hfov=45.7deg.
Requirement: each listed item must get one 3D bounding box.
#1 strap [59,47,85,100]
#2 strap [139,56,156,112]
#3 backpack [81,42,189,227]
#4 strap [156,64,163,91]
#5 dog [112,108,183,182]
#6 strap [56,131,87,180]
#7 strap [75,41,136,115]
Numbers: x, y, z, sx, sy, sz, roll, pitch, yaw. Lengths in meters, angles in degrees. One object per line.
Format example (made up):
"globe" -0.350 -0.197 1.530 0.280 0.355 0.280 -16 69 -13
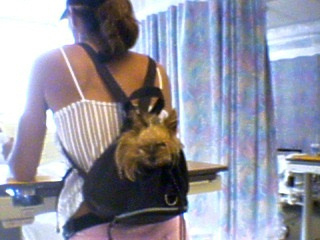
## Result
"strap" -0.360 -0.180 1.547 0.020 0.209 0.027 -23 1 17
"strap" -0.038 -0.144 1.612 0.038 0.193 0.090 10 -3 -3
"backpack" -0.096 0.025 1.707 0.410 0.901 0.456 5 -15 -24
"strap" -0.001 -0.192 1.672 0.017 0.089 0.043 -7 0 2
"dog" -0.099 0.038 1.665 0.310 0.250 0.441 -3 23 -18
"strap" -0.359 0.150 1.573 0.034 0.160 0.110 -19 1 6
"strap" -0.233 -0.163 1.565 0.032 0.315 0.042 -21 1 -1
